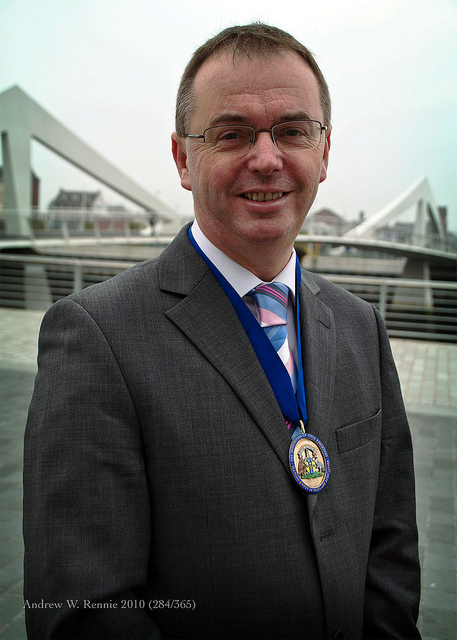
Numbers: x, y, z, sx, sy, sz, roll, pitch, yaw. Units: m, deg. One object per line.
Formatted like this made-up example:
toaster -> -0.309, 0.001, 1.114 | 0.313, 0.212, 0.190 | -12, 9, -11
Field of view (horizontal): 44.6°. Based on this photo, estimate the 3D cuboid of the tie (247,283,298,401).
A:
tie -> 0.094, 0.031, 1.159 | 0.096, 0.024, 0.300 | 5, 49, -10

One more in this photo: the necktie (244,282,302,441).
necktie -> 0.118, 0.088, 1.174 | 0.104, 0.368, 0.034 | -3, -19, -27
